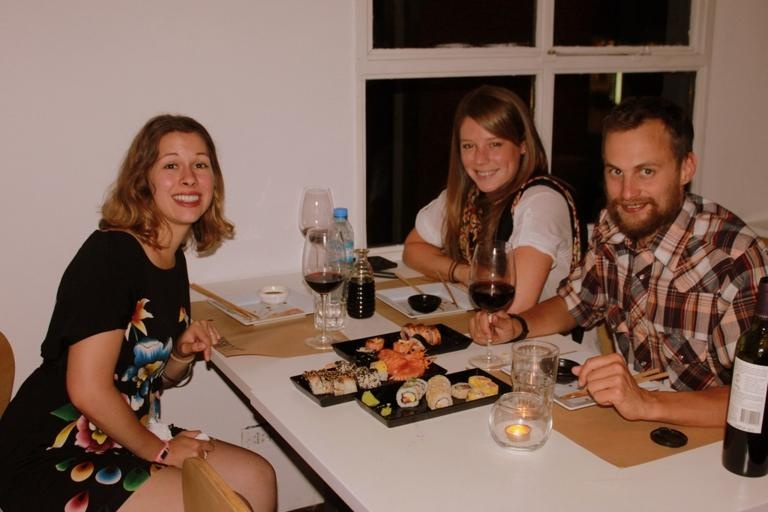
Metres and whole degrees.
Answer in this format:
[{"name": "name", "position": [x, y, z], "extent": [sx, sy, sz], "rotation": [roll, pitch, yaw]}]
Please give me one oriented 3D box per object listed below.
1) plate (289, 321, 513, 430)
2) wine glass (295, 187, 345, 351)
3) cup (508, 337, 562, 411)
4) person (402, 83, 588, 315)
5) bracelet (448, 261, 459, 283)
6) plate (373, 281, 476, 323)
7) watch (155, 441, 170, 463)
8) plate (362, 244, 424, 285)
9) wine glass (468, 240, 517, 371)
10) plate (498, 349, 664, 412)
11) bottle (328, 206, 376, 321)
[{"name": "plate", "position": [0.043, 0.350, 1.567], "extent": [0.314, 0.028, 0.326], "rotation": [-5, 16, -26]}, {"name": "wine glass", "position": [-0.237, 0.051, 2.070], "extent": [0.144, 0.620, 0.138], "rotation": [-17, 32, -19]}, {"name": "cup", "position": [0.409, 0.307, 1.483], "extent": [0.116, 0.170, 0.103], "rotation": [1, 13, -15]}, {"name": "person", "position": [0.427, -0.241, 2.394], "extent": [0.604, 0.898, 0.920], "rotation": [-4, 14, -20]}, {"name": "bracelet", "position": [0.299, 0.067, 2.419], "extent": [0.029, 0.075, 0.064], "rotation": [6, 11, 9]}, {"name": "plate", "position": [0.147, 0.135, 2.191], "extent": [0.373, 0.121, 0.259], "rotation": [-12, 13, -35]}, {"name": "watch", "position": [-0.647, 0.573, 1.644], "extent": [0.052, 0.018, 0.037], "rotation": [-40, 12, 28]}, {"name": "plate", "position": [0.075, 0.016, 2.585], "extent": [0.299, 0.165, 0.254], "rotation": [-5, 10, -32]}, {"name": "wine glass", "position": [0.327, 0.149, 1.730], "extent": [0.141, 0.379, 0.142], "rotation": [2, 9, 10]}, {"name": "plate", "position": [0.588, 0.293, 1.645], "extent": [0.363, 0.125, 0.385], "rotation": [-8, 11, -41]}, {"name": "bottle", "position": [-0.085, 0.021, 2.095], "extent": [0.134, 0.500, 0.195], "rotation": [-2, 6, -32]}]
